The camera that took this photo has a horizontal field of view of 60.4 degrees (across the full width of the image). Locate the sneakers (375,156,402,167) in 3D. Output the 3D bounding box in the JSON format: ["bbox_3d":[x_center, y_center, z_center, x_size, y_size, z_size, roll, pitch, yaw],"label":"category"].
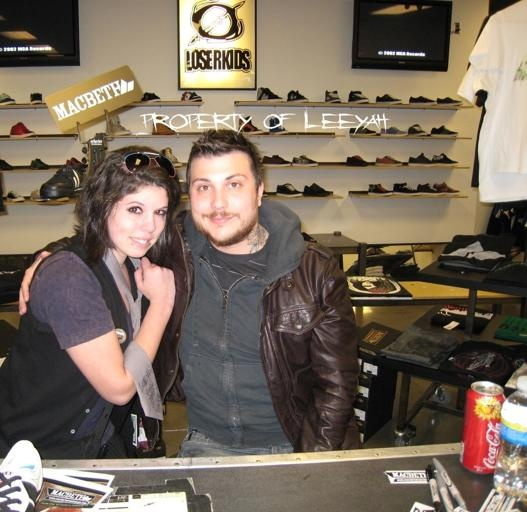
[{"bbox_3d":[1.553,-1.203,5.744,0.362,0.120,0.132,0,10,-5],"label":"sneakers"}]

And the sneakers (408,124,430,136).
[{"bbox_3d":[1.957,-1.605,5.746,0.130,0.118,0.317,12,16,34],"label":"sneakers"}]

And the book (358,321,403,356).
[{"bbox_3d":[0.628,0.452,2.553,0.154,0.034,0.160,11,25,41],"label":"book"}]

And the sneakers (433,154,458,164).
[{"bbox_3d":[2.330,-1.258,5.856,0.296,0.138,0.167,4,12,13],"label":"sneakers"}]

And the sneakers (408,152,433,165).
[{"bbox_3d":[2.033,-1.270,5.896,0.288,0.151,0.358,5,12,17],"label":"sneakers"}]

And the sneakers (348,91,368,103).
[{"bbox_3d":[1.146,-1.949,5.540,0.250,0.110,0.120,7,36,8],"label":"sneakers"}]

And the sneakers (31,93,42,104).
[{"bbox_3d":[-2.600,-1.822,5.237,0.115,0.129,0.206,-1,12,-12],"label":"sneakers"}]

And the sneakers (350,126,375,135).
[{"bbox_3d":[1.234,-1.594,5.737,0.347,0.114,0.116,1,16,2],"label":"sneakers"}]

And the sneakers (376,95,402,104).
[{"bbox_3d":[1.508,-1.916,5.557,0.345,0.119,0.115,1,13,1],"label":"sneakers"}]

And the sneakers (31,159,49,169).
[{"bbox_3d":[-2.631,-1.085,5.356,0.210,0.087,0.105,8,16,26],"label":"sneakers"}]

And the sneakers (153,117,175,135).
[{"bbox_3d":[-1.167,-1.505,5.323,0.252,0.137,0.138,-4,23,-13],"label":"sneakers"}]

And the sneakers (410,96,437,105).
[{"bbox_3d":[2.018,-1.937,5.669,0.369,0.112,0.119,1,16,3],"label":"sneakers"}]

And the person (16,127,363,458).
[{"bbox_3d":[-0.397,0.193,2.171,1.331,1.471,1.149,-1,6,20],"label":"person"}]

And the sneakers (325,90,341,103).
[{"bbox_3d":[0.845,-1.971,5.573,0.182,0.186,0.286,3,12,7],"label":"sneakers"}]

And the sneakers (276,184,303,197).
[{"bbox_3d":[0.308,-0.826,5.636,0.349,0.126,0.141,7,17,22],"label":"sneakers"}]

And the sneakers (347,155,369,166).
[{"bbox_3d":[1.177,-1.202,5.662,0.283,0.108,0.125,4,24,8],"label":"sneakers"}]

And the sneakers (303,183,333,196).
[{"bbox_3d":[0.679,-0.840,5.681,0.322,0.121,0.178,1,10,5],"label":"sneakers"}]

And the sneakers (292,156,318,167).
[{"bbox_3d":[0.514,-1.186,5.627,0.321,0.115,0.125,0,12,-6],"label":"sneakers"}]

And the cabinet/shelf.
[{"bbox_3d":[0.920,0.487,2.379,0.684,0.802,0.936,7,21,17],"label":"cabinet/shelf"}]

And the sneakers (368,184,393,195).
[{"bbox_3d":[1.462,-0.876,5.850,0.360,0.138,0.121,1,9,-6],"label":"sneakers"}]

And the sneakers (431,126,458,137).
[{"bbox_3d":[2.255,-1.610,5.827,0.429,0.149,0.140,1,11,-1],"label":"sneakers"}]

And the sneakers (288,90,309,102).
[{"bbox_3d":[0.397,-1.941,5.485,0.235,0.174,0.245,0,12,-6],"label":"sneakers"}]

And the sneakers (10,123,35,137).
[{"bbox_3d":[-2.778,-1.476,5.257,0.322,0.153,0.136,5,15,6],"label":"sneakers"}]

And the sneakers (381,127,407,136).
[{"bbox_3d":[1.625,-1.594,5.761,0.381,0.127,0.126,0,14,0],"label":"sneakers"}]

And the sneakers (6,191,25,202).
[{"bbox_3d":[-2.885,-0.703,5.290,0.292,0.104,0.112,10,17,34],"label":"sneakers"}]

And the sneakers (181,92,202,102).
[{"bbox_3d":[-0.842,-1.899,5.378,0.254,0.150,0.207,-1,12,-8],"label":"sneakers"}]

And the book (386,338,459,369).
[{"bbox_3d":[0.801,0.477,2.332,0.282,0.075,0.288,9,14,34],"label":"book"}]
